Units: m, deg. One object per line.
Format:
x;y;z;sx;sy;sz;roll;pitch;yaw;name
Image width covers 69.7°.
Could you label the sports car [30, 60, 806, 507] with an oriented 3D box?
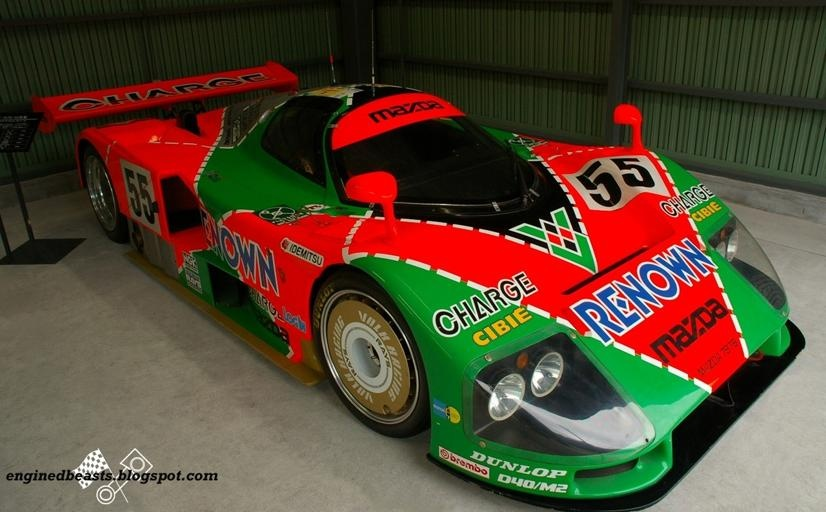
-0.410;-0.244;4.453;4.985;1.381;2.603;28;48;35;sports car
